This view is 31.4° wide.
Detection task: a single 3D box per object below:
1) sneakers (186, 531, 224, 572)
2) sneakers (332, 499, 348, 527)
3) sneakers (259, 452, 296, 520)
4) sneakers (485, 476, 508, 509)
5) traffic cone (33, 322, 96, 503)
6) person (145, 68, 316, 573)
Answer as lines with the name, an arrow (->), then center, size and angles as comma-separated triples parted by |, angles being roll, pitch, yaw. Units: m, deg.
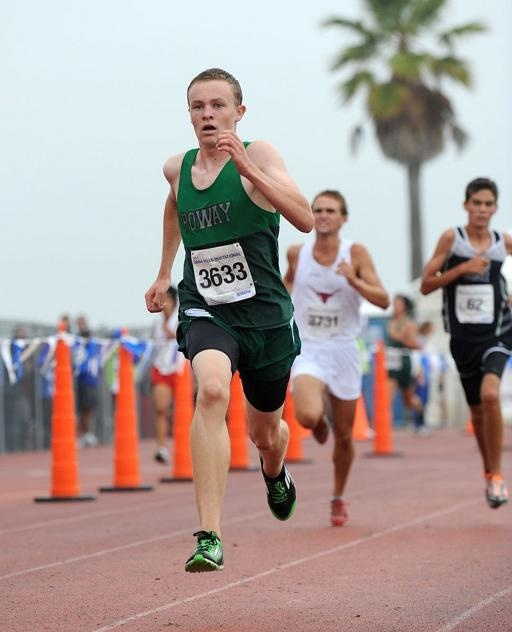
sneakers -> -0.158, 0.724, 2.740 | 0.105, 0.123, 0.221 | -2, -1, -5
sneakers -> 0.472, 1.118, 5.107 | 0.066, 0.087, 0.141 | -1, -33, 4
sneakers -> 0.114, 0.843, 4.326 | 0.115, 0.360, 0.155 | -9, 38, 2
sneakers -> 1.257, 0.950, 4.773 | 0.082, 0.135, 0.255 | -2, -34, 8
traffic cone -> -1.330, 0.675, 6.269 | 0.360, 1.237, 0.413 | -3, -2, 15
person -> -0.092, 0.002, 3.405 | 0.604, 1.862, 1.469 | -2, -1, -7
